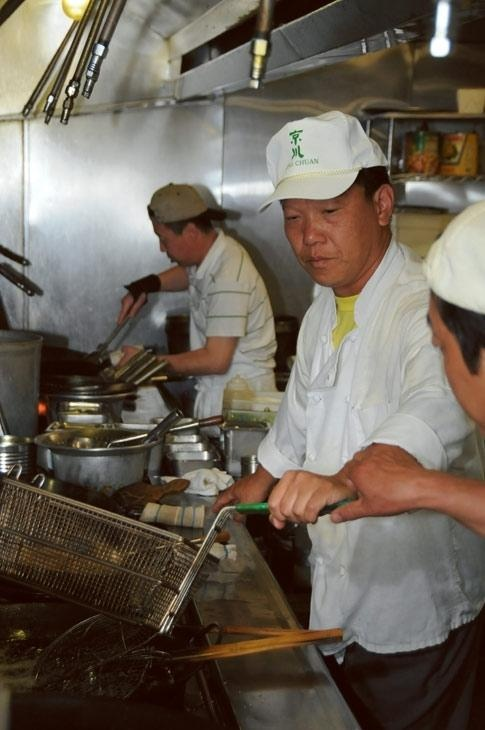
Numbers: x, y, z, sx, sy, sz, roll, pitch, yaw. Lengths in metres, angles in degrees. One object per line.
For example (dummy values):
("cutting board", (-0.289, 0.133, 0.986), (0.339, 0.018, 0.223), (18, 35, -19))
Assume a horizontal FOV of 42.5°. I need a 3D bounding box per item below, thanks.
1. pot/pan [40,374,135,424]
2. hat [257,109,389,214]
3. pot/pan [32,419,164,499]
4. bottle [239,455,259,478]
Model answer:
("pot/pan", (-0.560, 0.144, 2.233), (0.341, 0.166, 0.537), (8, 1, -10))
("hat", (0.163, -0.464, 1.359), (0.268, 0.158, 0.317), (-9, 25, 21))
("pot/pan", (-0.376, 0.219, 1.523), (0.233, 0.077, 0.220), (0, 9, -26))
("bottle", (0.008, 0.285, 1.751), (0.061, 0.056, 0.057), (0, 2, -14))
